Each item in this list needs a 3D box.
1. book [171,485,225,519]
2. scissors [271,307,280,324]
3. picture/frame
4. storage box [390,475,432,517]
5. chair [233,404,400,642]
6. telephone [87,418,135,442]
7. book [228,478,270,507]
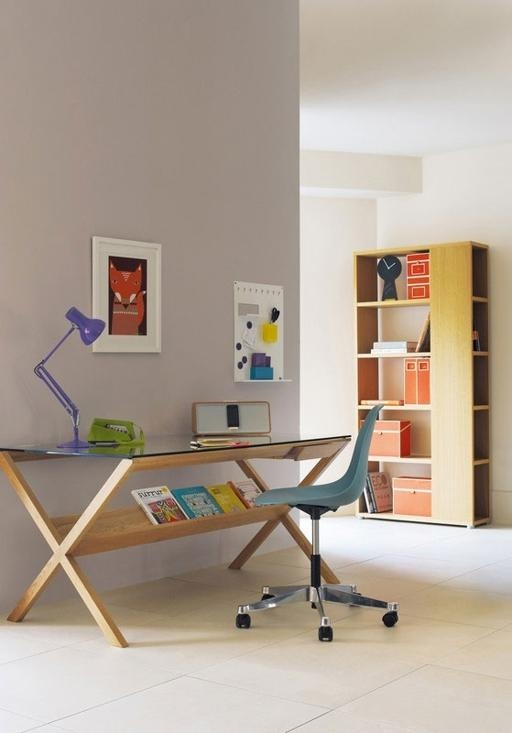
[{"bbox_3d":[-0.260,0.601,2.945,0.145,0.034,0.149,5,15,-30],"label":"book"},{"bbox_3d":[0.121,-0.309,3.984,0.050,0.085,0.021,12,-4,-25],"label":"scissors"},{"bbox_3d":[-0.607,-0.319,3.130,0.028,0.501,0.453,3,5,29],"label":"picture/frame"},{"bbox_3d":[1.263,1.052,5.341,0.401,0.348,0.230,0,1,38],"label":"storage box"},{"bbox_3d":[0.268,0.588,2.976,0.850,1.034,0.847,1,-2,-1],"label":"chair"},{"bbox_3d":[-0.598,0.252,2.692,0.141,0.056,0.104,0,-1,-9],"label":"telephone"},{"bbox_3d":[-0.060,0.633,3.400,0.178,0.046,0.180,13,17,-41],"label":"book"}]
